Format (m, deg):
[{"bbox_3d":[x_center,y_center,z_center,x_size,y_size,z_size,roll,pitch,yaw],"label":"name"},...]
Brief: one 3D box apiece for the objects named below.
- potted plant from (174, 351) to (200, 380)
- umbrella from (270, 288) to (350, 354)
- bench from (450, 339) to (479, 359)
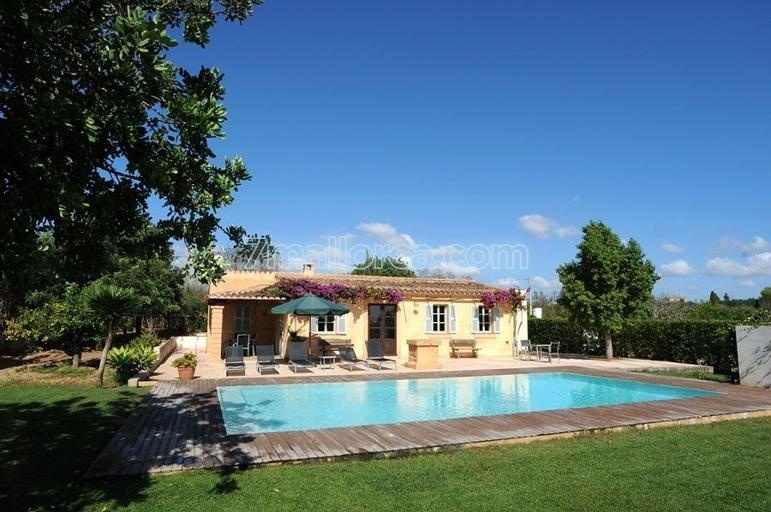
[{"bbox_3d":[-6.667,3.671,15.841,0.634,0.839,1.098,5,-11,-24],"label":"potted plant"},{"bbox_3d":[-3.189,2.809,20.876,2.764,1.994,2.685,0,-8,-7],"label":"umbrella"},{"bbox_3d":[3.856,4.575,23.666,1.400,0.886,0.834,1,-10,0],"label":"bench"}]
